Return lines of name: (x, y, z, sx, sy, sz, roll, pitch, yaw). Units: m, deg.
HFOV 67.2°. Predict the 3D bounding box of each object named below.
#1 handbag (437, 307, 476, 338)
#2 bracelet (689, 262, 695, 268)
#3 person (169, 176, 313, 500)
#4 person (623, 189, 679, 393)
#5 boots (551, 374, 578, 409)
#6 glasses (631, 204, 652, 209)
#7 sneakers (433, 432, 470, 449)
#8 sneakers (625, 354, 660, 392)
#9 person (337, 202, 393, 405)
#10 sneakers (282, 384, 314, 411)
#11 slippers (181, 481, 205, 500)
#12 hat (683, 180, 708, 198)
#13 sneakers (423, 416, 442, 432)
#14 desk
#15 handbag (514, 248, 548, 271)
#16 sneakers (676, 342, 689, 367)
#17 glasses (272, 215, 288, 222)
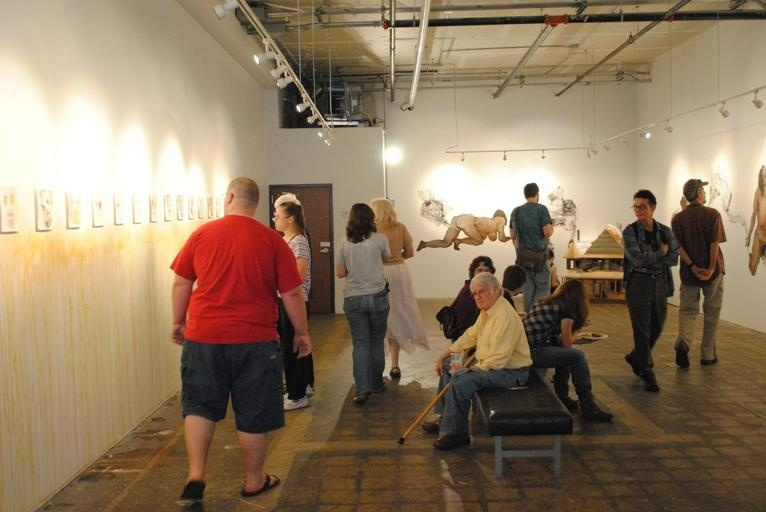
handbag: (0.706, 0.651, 5.993, 0.273, 0.377, 0.151, 31, 18, 2)
bracelet: (3.739, 0.109, 7.001, 0.041, 0.060, 0.015, -19, -19, 16)
person: (-1.139, 0.619, 4.570, 1.129, 2.469, 0.792, 3, -2, -4)
person: (2.875, 0.346, 6.325, 0.523, 2.088, 0.575, 6, 13, 34)
boots: (1.857, 1.377, 5.840, 0.235, 0.259, 0.114, 11, 22, 30)
glasses: (2.806, -0.536, 6.274, 0.169, 0.058, 0.115, 7, 14, 33)
sneakers: (0.604, 1.616, 5.130, 0.342, 0.157, 0.126, 2, 4, -15)
sneakers: (2.830, 1.291, 6.451, 0.174, 0.227, 0.537, -13, 11, -4)
person: (-0.184, 0.489, 6.118, 0.559, 2.039, 0.574, -4, 11, -17)
sneakers: (-0.894, 1.468, 5.982, 0.175, 0.212, 0.525, 0, -2, 37)
slippers: (-1.427, 1.743, 4.322, 0.171, 0.190, 0.080, -1, 11, 1)
hat: (3.730, -0.788, 6.971, 0.174, 0.251, 0.217, 5, 13, 28)
sneakers: (0.470, 1.583, 5.438, 0.088, 0.085, 0.196, -2, -6, 39)
desk: (1.242, 1.367, 5.308, 0.661, 0.530, 1.591, -1, 12, 5)
handbag: (1.945, 0.034, 7.586, 0.350, 0.255, 0.298, 3, 3, 14)
sneakers: (3.581, 1.170, 6.930, 0.124, 0.349, 0.145, 0, 7, 22)
glasses: (-1.036, -0.384, 5.828, 0.157, 0.048, 0.152, 2, -3, -19)
